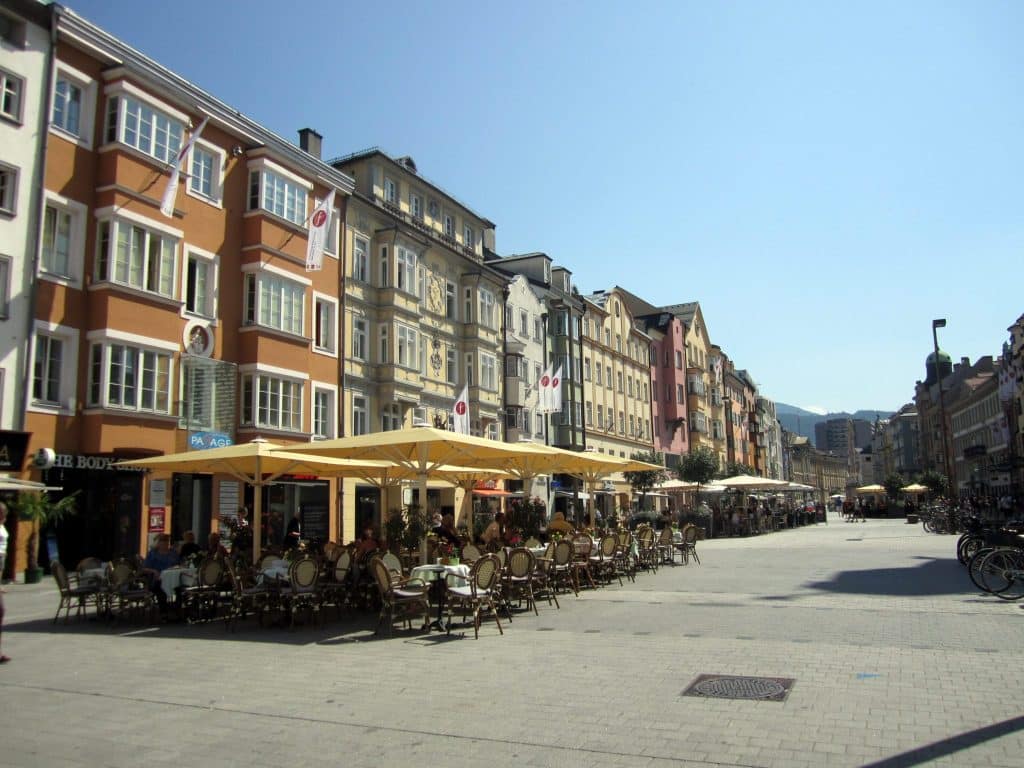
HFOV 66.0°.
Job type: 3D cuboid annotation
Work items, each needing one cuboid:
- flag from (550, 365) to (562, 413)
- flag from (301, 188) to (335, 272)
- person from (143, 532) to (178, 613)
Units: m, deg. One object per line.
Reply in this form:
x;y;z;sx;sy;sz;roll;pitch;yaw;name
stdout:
2.069;0.157;35.975;0.503;2.036;0.825;-3;-13;-5;flag
-6.679;-5.283;27.275;0.795;2.790;1.283;3;-15;-27;flag
-6.740;3.566;15.078;0.578;1.485;1.043;4;-15;-29;person
